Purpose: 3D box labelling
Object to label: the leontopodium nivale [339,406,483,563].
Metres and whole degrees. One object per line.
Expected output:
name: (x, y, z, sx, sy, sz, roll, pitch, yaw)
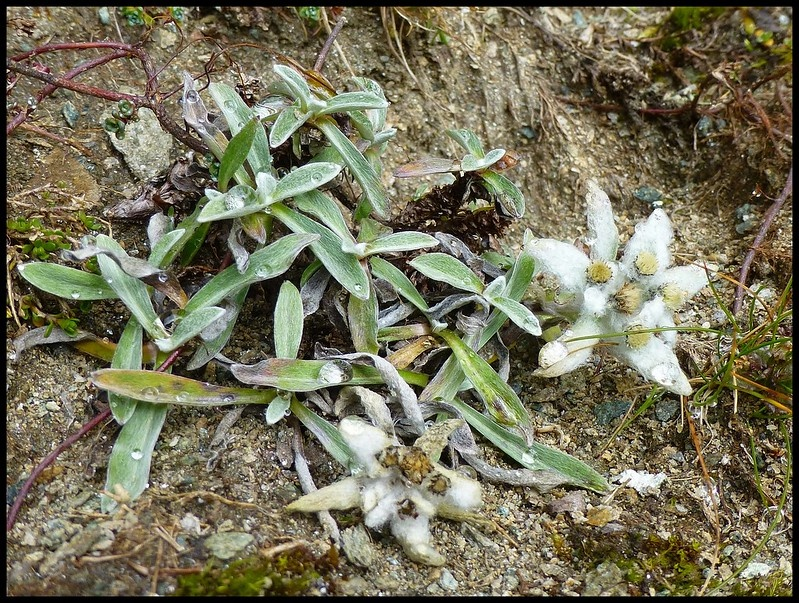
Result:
leontopodium nivale: (0.022, 0.523, 2.245, 0.425, 0.408, 0.161, 49, 12, 3)
